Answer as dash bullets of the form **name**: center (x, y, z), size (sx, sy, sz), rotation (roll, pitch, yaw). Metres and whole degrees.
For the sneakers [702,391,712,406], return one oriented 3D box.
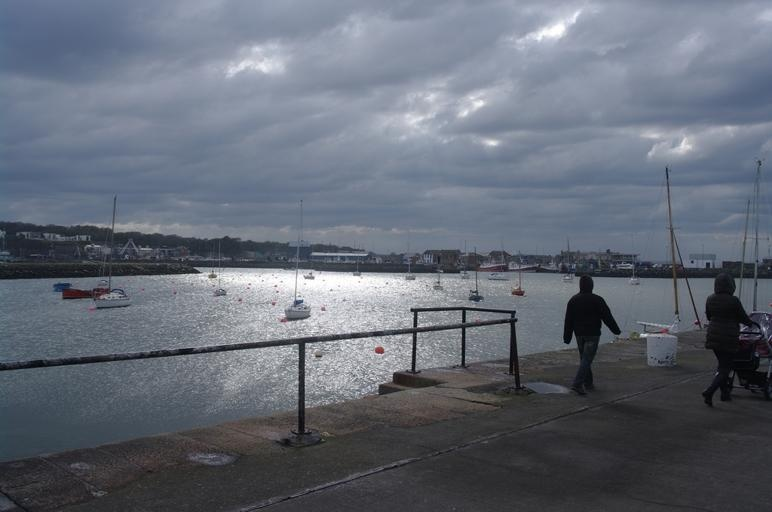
- **sneakers**: center (6.674, 2.952, 12.701), size (0.167, 0.235, 0.363), rotation (-10, -6, 26)

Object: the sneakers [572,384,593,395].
- **sneakers**: center (4.411, 2.965, 13.589), size (0.577, 0.220, 0.190), rotation (-2, 3, -34)

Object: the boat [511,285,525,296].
- **boat**: center (23.569, 6.374, 110.197), size (1.885, 1.320, 7.803), rotation (-4, -7, 7)

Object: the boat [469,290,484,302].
- **boat**: center (13.725, 6.175, 93.703), size (1.450, 1.799, 4.421), rotation (2, -5, 1)
